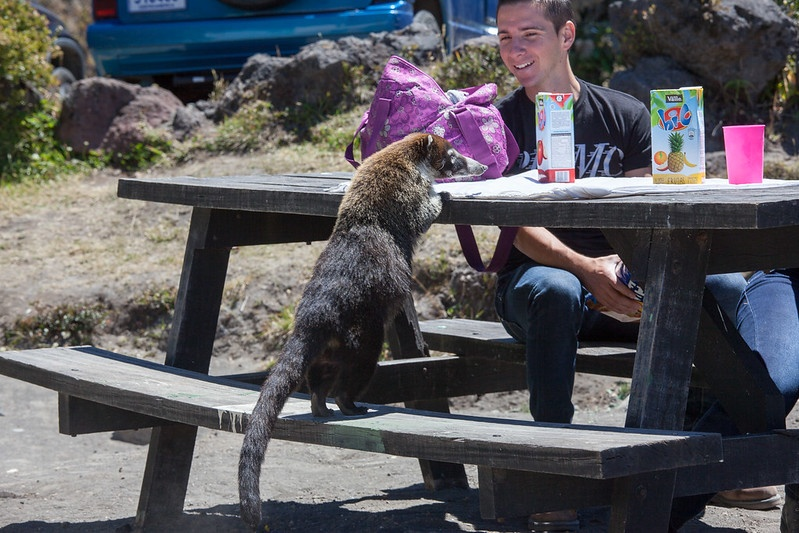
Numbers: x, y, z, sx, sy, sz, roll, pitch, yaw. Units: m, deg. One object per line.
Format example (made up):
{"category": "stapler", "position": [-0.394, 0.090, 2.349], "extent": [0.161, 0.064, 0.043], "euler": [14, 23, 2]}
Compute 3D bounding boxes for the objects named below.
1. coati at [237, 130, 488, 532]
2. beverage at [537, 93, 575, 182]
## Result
{"category": "coati", "position": [-0.223, 0.594, 9.828], "extent": [0.911, 2.216, 2.817], "euler": [19, -39, -26]}
{"category": "beverage", "position": [1.112, -0.909, 9.157], "extent": [0.225, 0.699, 0.274], "euler": [3, -6, -28]}
